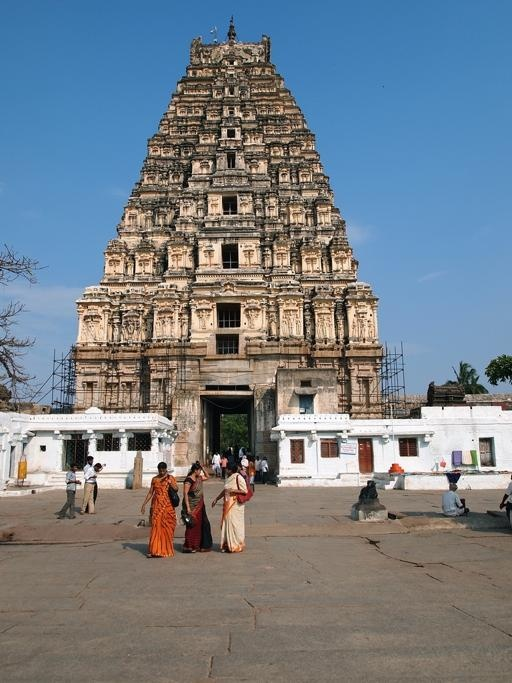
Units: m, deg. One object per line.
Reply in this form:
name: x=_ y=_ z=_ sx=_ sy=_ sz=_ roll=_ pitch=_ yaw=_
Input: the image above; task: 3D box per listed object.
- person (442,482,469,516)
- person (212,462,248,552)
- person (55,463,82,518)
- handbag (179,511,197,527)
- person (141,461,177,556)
person: x=4.374 y=3.476 z=13.224 sx=0.500 sy=0.684 sz=1.137 roll=-4 pitch=-11 yaw=16
person: x=-0.406 y=2.678 z=9.825 sx=0.528 sy=1.396 sz=1.168 roll=0 pitch=-11 yaw=-1
person: x=-4.687 y=3.703 z=14.983 sx=0.446 sy=1.173 sz=2.081 roll=3 pitch=-11 yaw=-15
handbag: x=-1.082 y=2.819 z=9.532 sx=0.215 sy=0.281 sz=0.354 roll=1 pitch=-11 yaw=-7
person: x=-1.554 y=2.682 z=9.743 sx=0.502 sy=1.400 sz=1.017 roll=2 pitch=-11 yaw=-9
